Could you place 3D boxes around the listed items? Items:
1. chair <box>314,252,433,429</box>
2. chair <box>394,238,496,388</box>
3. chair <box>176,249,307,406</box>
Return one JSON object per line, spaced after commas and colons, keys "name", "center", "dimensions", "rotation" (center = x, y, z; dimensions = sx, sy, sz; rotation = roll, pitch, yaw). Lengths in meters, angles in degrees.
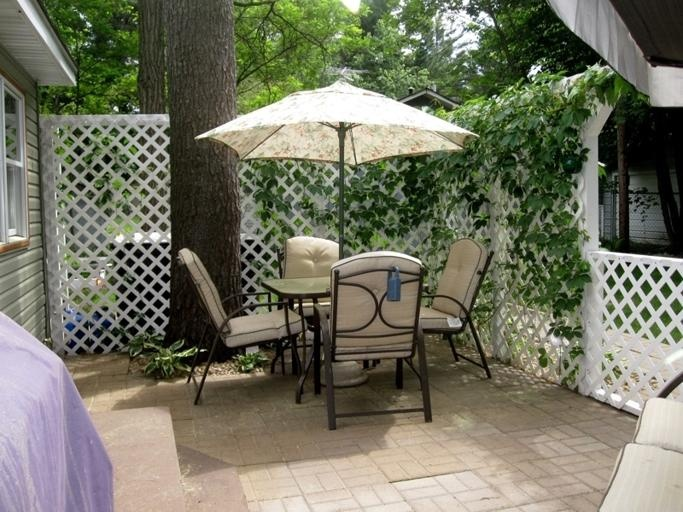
{"name": "chair", "center": [0.223, 0.500, 3.901], "dimensions": [0.728, 1.141, 0.910], "rotation": [-2, 10, -11]}
{"name": "chair", "center": [0.826, 0.428, 4.738], "dimensions": [0.810, 1.243, 0.760], "rotation": [3, 4, -4]}
{"name": "chair", "center": [-0.824, 0.494, 4.528], "dimensions": [0.954, 1.194, 1.100], "rotation": [-2, 7, -14]}
